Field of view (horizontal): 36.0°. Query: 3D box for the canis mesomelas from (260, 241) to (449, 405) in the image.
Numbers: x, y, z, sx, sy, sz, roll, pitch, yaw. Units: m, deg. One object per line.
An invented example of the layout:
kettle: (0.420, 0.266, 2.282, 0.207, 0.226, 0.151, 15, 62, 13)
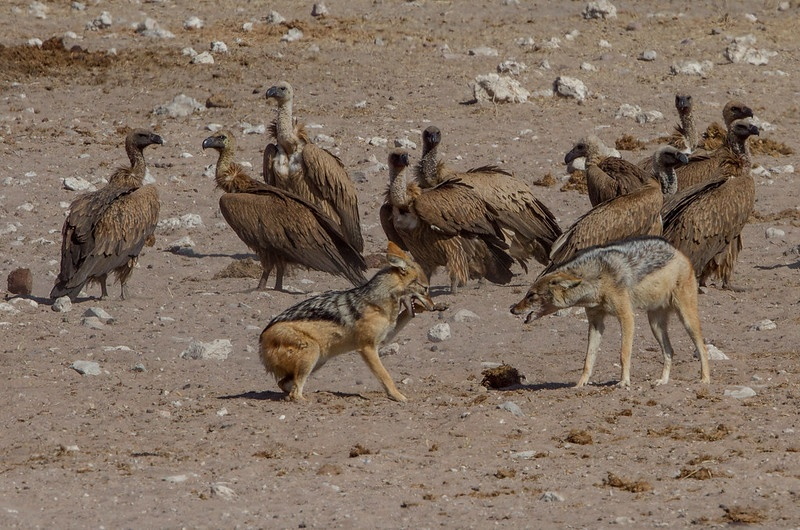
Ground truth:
canis mesomelas: (-0.771, 1.010, 16.909, 2.095, 2.584, 1.219, -4, 43, -23)

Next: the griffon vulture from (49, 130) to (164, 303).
griffon vulture: (-4.919, -0.841, 20.760, 1.490, 2.574, 2.712, 10, 20, 27)
